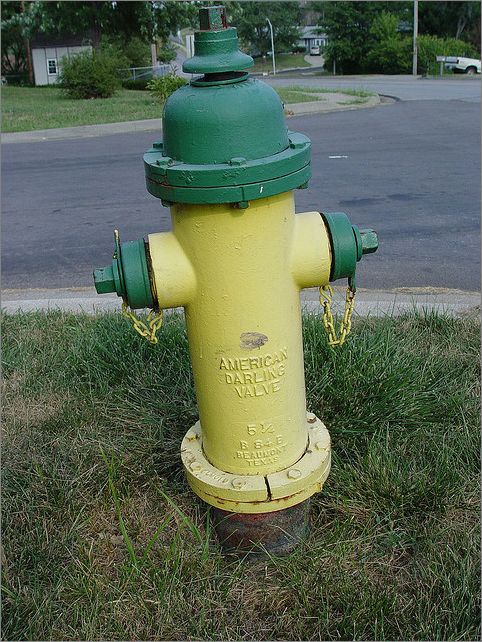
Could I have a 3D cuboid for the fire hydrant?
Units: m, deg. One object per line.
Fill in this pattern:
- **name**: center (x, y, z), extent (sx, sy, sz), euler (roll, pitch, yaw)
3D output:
- **fire hydrant**: center (-0.002, -0.046, 2.054), extent (0.830, 1.692, 0.427), euler (-9, 21, -10)
